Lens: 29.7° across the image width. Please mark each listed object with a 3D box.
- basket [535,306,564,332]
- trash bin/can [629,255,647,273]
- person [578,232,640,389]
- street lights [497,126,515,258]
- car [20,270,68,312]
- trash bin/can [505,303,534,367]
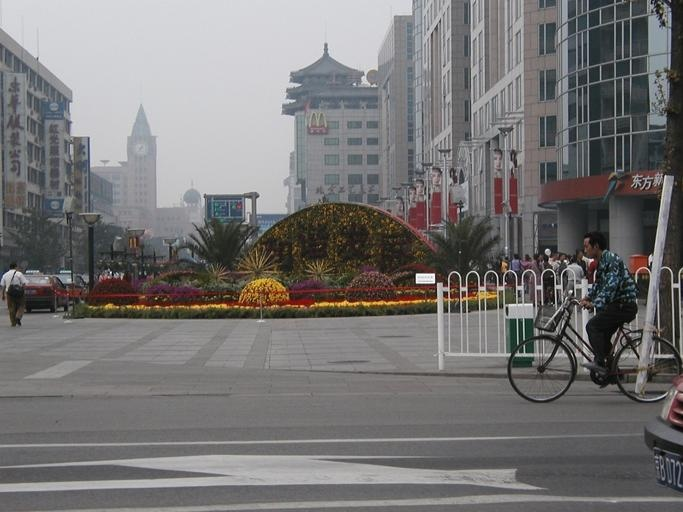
[{"bbox_3d":[4.213,1.256,26.316,0.516,0.587,0.483,10,-9,39],"label":"basket"},{"bbox_3d":[11.263,0.316,48.867,0.588,0.813,0.471,0,-4,-8],"label":"trash bin/can"},{"bbox_3d":[5.386,1.054,26.250,1.133,3.027,1.231,3,5,16],"label":"person"},{"bbox_3d":[9.395,-3.664,73.253,0.675,8.063,0.858,-1,5,-1],"label":"street lights"},{"bbox_3d":[-11.835,1.504,51.791,1.587,1.548,3.706,-1,2,-13],"label":"car"},{"bbox_3d":[3.995,1.771,28.848,0.594,1.377,0.532,-3,2,18],"label":"trash bin/can"}]
